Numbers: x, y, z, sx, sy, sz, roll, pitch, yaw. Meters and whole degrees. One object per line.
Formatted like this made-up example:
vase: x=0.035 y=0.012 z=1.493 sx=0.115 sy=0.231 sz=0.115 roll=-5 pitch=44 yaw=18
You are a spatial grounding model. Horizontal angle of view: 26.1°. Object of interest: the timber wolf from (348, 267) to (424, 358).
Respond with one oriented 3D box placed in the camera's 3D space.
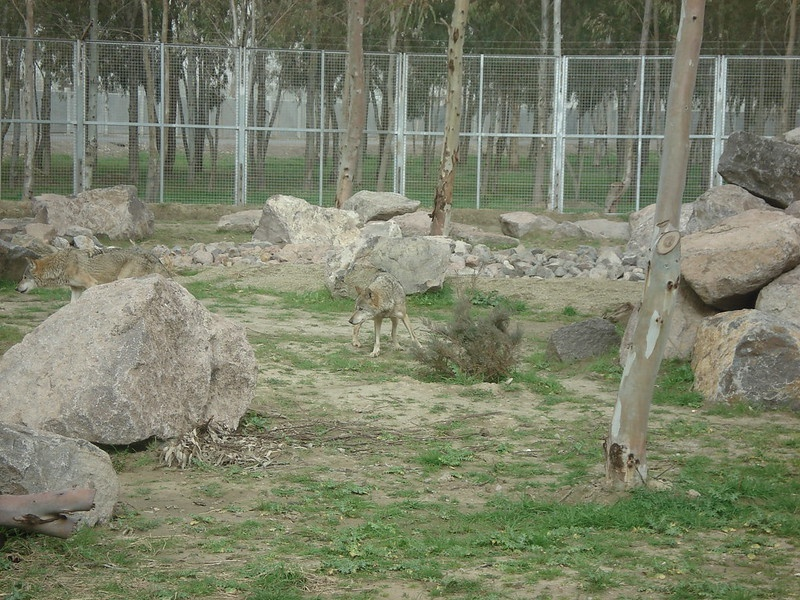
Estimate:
timber wolf: x=-0.335 y=0.245 z=30.377 sx=1.057 sy=1.400 sz=0.663 roll=-4 pitch=9 yaw=-35
